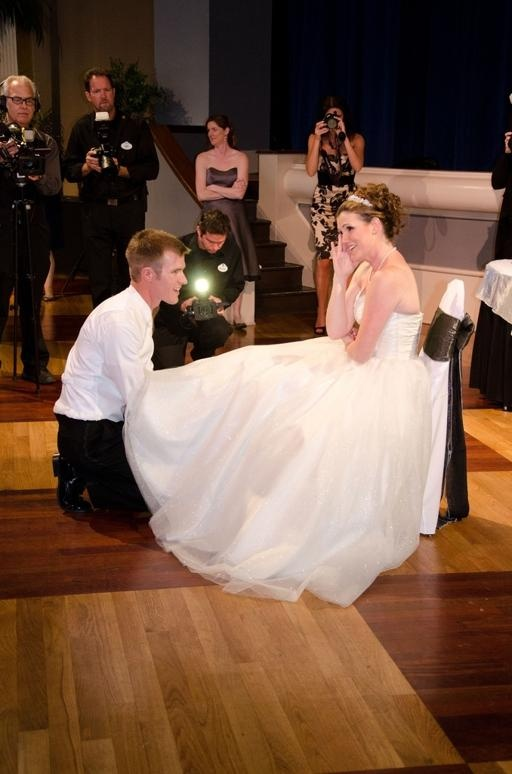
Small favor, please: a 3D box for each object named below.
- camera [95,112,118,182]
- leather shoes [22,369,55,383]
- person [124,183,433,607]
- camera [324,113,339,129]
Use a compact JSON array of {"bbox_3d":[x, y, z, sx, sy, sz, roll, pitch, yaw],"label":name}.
[{"bbox_3d":[-1.049,-1.693,4.172,0.136,0.384,0.341,1,5,-3],"label":"camera"},{"bbox_3d":[-1.566,-0.076,4.275,0.260,0.108,0.094,1,9,25],"label":"leather shoes"},{"bbox_3d":[0.054,-0.073,2.229,1.152,1.344,1.212,4,13,14],"label":"person"},{"bbox_3d":[0.681,-2.385,5.338,0.086,0.137,0.132,-1,6,-32],"label":"camera"}]
